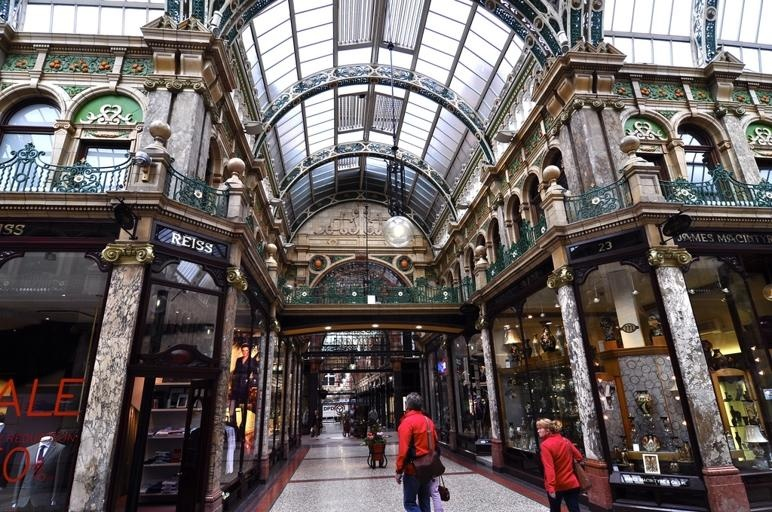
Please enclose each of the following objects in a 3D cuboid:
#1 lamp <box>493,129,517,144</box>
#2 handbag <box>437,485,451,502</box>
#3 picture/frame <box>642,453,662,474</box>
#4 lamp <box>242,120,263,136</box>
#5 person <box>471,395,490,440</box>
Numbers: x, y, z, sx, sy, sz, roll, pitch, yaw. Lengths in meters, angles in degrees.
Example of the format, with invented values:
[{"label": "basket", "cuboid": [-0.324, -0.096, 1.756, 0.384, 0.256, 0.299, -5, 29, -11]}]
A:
[{"label": "lamp", "cuboid": [4.109, -4.235, 14.929, 0.554, 0.268, 0.489, 14, -40, -1]}, {"label": "handbag", "cuboid": [1.036, 4.292, 7.825, 0.178, 0.222, 0.391, -4, -21, 2]}, {"label": "picture/frame", "cuboid": [5.915, 4.628, 9.674, 0.341, 0.409, 0.387, -13, -23, 24]}, {"label": "lamp", "cuboid": [-4.451, -4.377, 14.520, 0.639, 0.517, 0.473, -4, -21, 2]}, {"label": "person", "cuboid": [3.512, 5.925, 15.975, 0.573, 1.556, 0.758, -6, -21, 8]}]
